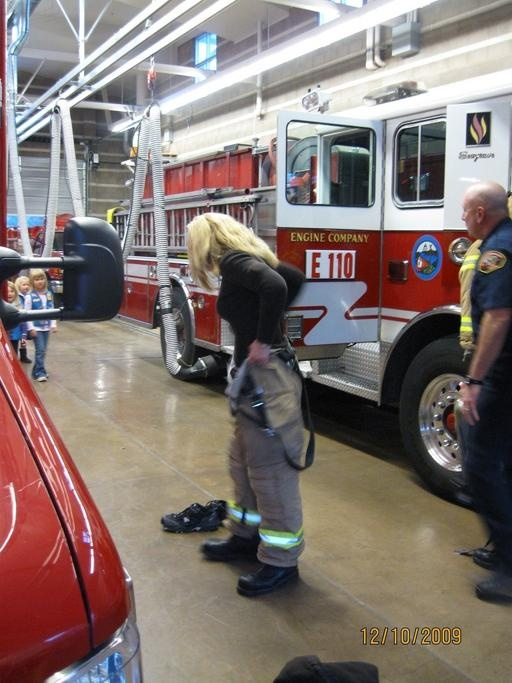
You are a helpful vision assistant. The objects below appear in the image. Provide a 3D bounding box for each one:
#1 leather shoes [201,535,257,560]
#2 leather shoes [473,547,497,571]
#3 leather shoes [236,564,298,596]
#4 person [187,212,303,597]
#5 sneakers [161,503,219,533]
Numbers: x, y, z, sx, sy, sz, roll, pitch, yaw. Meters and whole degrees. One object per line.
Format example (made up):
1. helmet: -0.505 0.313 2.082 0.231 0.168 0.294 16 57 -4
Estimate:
1. leather shoes: -0.166 1.193 3.107 0.354 0.158 0.133 4 -1 -8
2. leather shoes: 1.317 1.249 3.053 0.066 0.121 0.174 -22 -7 -2
3. leather shoes: 0.057 1.231 2.794 0.323 0.149 0.128 0 2 -28
4. person: -0.008 0.324 2.778 0.433 1.972 0.626 -6 12 -38
5. sneakers: -0.430 1.163 3.460 0.296 0.123 0.153 2 -7 -8
